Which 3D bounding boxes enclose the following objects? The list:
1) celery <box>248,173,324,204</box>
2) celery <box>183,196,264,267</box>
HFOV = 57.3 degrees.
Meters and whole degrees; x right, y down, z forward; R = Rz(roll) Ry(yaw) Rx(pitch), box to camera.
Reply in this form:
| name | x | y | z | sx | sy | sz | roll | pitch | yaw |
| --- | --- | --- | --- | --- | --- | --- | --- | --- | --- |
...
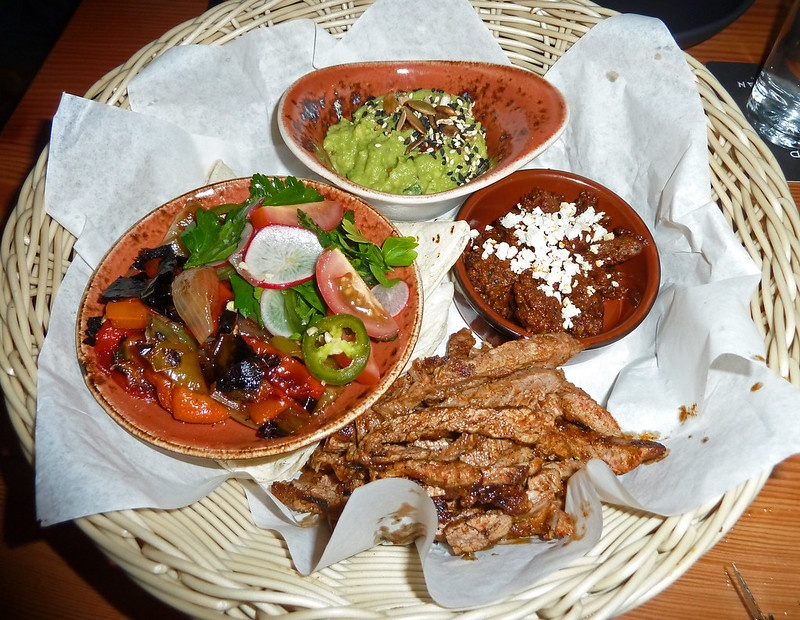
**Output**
| name | x | y | z | sx | sy | sz | roll | pitch | yaw |
| --- | --- | --- | --- | --- | --- | --- | --- | --- | --- |
| celery | -0.736 | -0.733 | 4.535 | 0.336 | 0.069 | 0.219 | 12 | 57 | 16 |
| celery | -1.071 | -0.410 | 4.489 | 0.325 | 0.121 | 0.496 | 35 | 59 | 22 |
